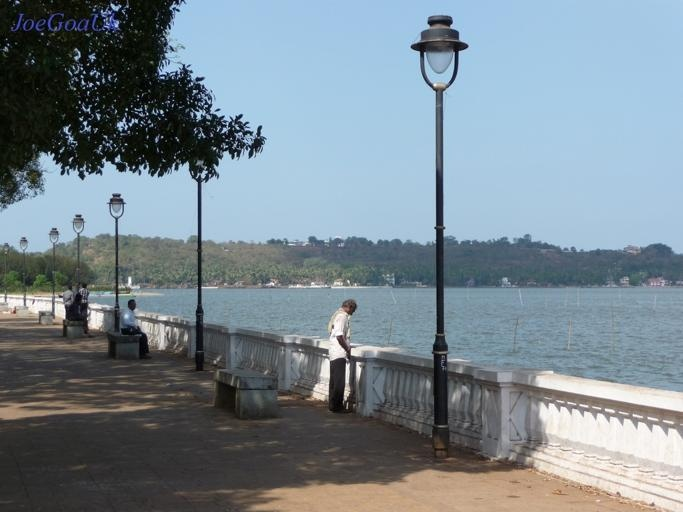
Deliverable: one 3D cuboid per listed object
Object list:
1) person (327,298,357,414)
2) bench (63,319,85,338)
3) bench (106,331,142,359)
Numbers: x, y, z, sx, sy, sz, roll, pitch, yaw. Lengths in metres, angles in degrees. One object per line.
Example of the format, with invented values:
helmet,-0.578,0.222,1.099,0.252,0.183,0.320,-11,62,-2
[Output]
person,-0.004,1.638,19.264,0.418,1.872,0.639,1,-2,0
bench,-8.116,2.293,35.026,0.428,0.509,0.810,3,-4,-19
bench,-5.220,2.133,27.866,0.714,0.605,1.348,2,-3,-16
